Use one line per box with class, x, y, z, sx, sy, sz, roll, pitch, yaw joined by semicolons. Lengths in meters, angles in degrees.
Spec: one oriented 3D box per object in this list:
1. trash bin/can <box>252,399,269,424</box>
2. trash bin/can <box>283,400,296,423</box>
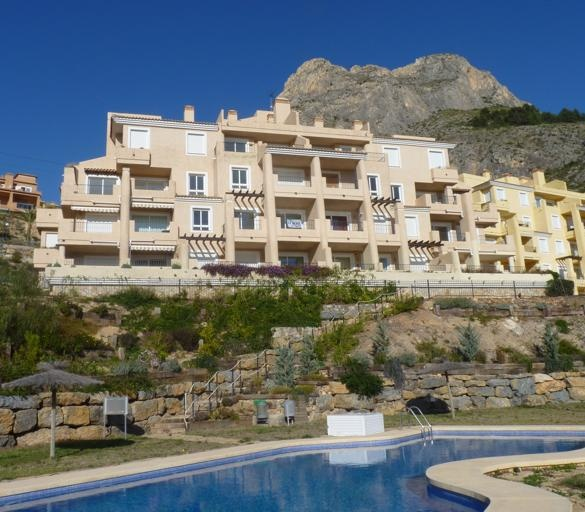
trash bin/can;-1.327;6.657;24.836;0.595;0.855;0.764;-3;-6;-4
trash bin/can;-0.121;6.662;24.920;0.438;0.962;0.556;-2;-7;-10
